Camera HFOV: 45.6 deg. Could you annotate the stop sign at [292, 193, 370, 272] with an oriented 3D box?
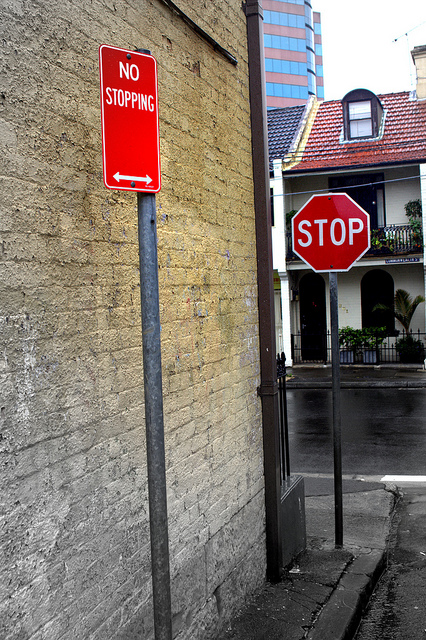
[{"bbox_3d":[1.032,-0.780,4.463,0.680,0.705,0.242,9,2,27],"label":"stop sign"}]
